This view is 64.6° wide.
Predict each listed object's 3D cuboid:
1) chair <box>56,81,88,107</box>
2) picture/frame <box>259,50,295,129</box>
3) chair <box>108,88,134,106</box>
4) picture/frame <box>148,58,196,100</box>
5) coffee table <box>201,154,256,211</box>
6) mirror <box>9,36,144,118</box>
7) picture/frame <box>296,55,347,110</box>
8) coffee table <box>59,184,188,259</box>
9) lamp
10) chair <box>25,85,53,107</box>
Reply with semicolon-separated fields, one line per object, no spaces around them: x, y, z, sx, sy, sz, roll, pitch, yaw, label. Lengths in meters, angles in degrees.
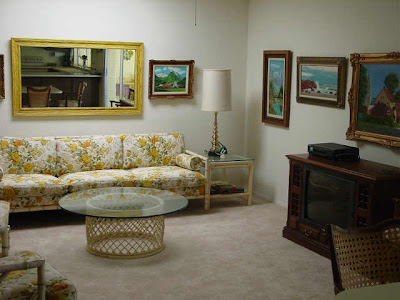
-1.896;-0.825;4.756;0.406;0.538;0.400;3;6;-17;chair
1.191;-0.978;4.997;0.133;1.205;0.603;-3;10;-26;picture/frame
-1.238;-0.811;4.987;0.332;0.447;0.292;0;7;-19;chair
-0.500;-1.179;5.178;0.757;0.593;0.073;0;4;-17;picture/frame
0.376;0.498;5.189;0.854;0.750;0.831;-2;8;-19;coffee table
-1.907;-1.124;4.703;1.427;0.789;0.052;-2;15;-21;mirror
1.634;-0.919;4.231;0.069;0.627;0.775;-9;16;-31;picture/frame
-0.809;0.872;3.626;1.286;0.475;1.259;-2;-3;40;coffee table
0.252;-0.629;5.147;0.452;1.386;0.504;2;9;1;lamp
-2.396;-0.812;4.725;0.274;0.424;0.322;-2;22;-24;chair
